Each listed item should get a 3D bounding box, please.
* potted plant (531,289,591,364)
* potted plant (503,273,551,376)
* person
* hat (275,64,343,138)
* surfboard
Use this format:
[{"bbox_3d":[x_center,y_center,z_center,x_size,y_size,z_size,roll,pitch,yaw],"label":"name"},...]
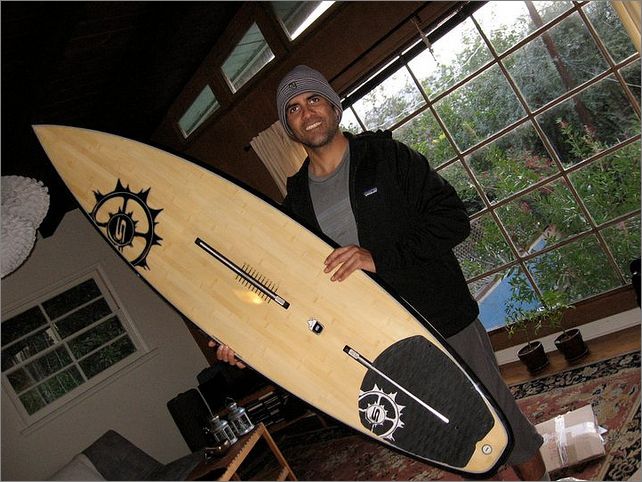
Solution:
[{"bbox_3d":[1.783,0.641,3.148,0.250,0.556,0.325,-29,-9,-2],"label":"potted plant"},{"bbox_3d":[1.638,0.645,3.339,0.271,0.767,0.260,-17,1,38],"label":"potted plant"},{"bbox_3d":[0.371,0.119,1.847,0.683,2.010,0.395,-30,2,14],"label":"person"},{"bbox_3d":[-0.065,-0.653,2.030,0.256,0.367,0.211,-28,-19,0],"label":"hat"},{"bbox_3d":[-0.371,0.004,2.443,0.886,3.215,0.335,-53,-15,14],"label":"surfboard"}]
